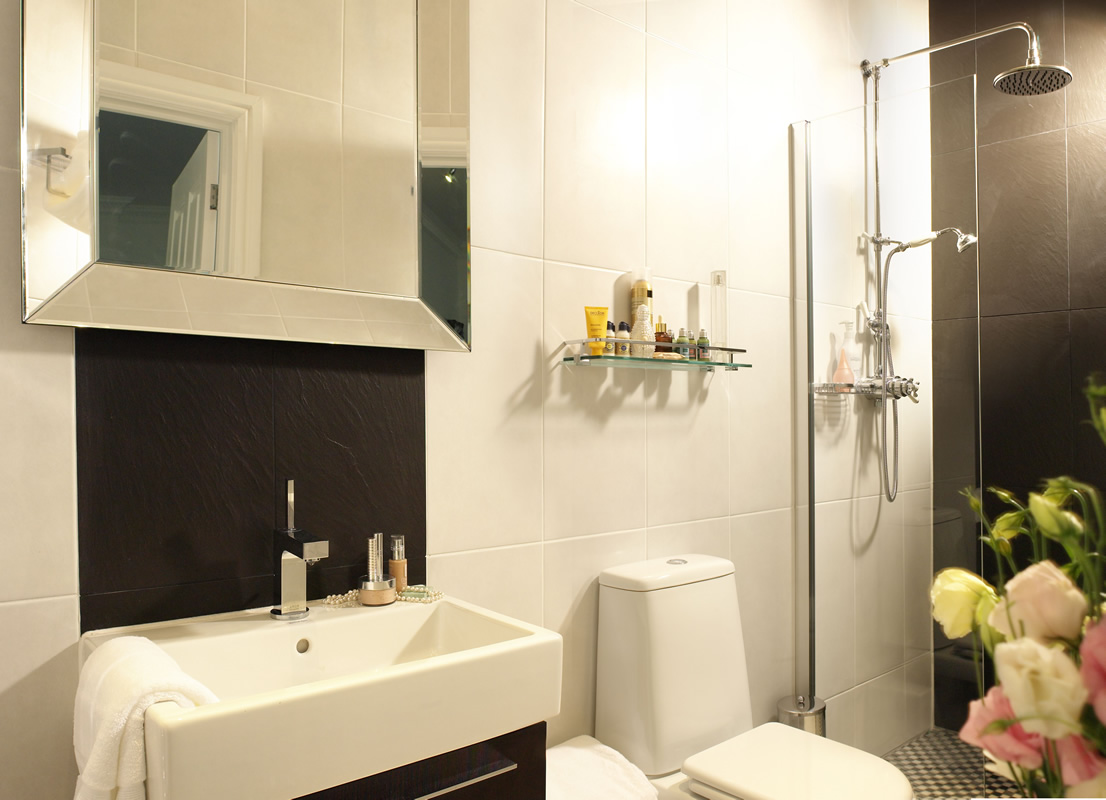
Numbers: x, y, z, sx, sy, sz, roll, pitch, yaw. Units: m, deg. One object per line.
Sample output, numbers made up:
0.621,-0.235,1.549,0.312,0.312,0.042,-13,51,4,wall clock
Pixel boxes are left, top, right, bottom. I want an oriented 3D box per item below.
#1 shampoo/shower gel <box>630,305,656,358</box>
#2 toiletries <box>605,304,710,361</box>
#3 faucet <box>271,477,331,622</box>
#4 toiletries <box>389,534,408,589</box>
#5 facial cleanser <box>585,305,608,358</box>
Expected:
0.251,-0.202,2.564,0.064,0.158,0.116,0,4,6,shampoo/shower gel
0.357,-0.185,2.594,0.406,0.266,0.122,-1,1,-40,toiletries
-0.557,0.331,1.994,0.085,0.305,0.188,0,2,-37,faucet
-0.369,0.384,2.161,0.037,0.127,0.100,-1,4,-14,toiletries
0.117,-0.186,2.469,0.060,0.137,0.039,1,-11,2,facial cleanser
